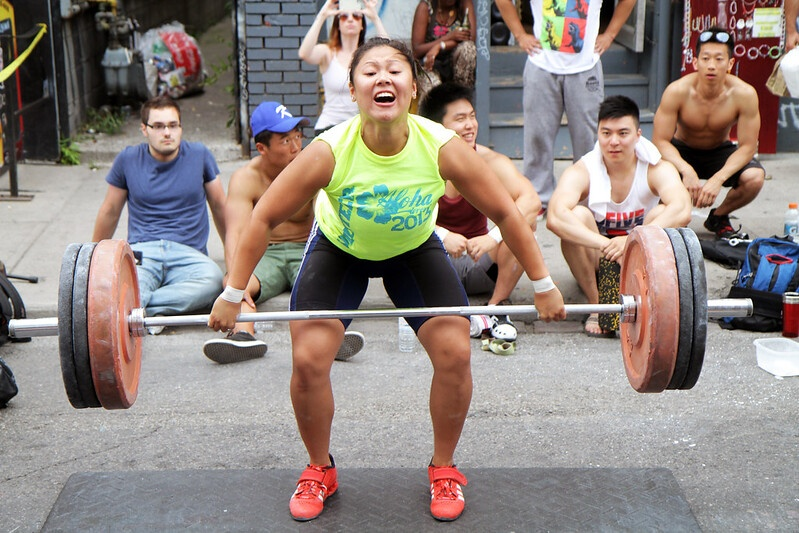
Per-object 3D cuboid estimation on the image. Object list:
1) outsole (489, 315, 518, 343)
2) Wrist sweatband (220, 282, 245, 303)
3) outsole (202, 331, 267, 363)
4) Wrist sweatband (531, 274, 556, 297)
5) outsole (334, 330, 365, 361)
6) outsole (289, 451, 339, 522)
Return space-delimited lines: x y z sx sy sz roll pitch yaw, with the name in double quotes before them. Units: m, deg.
"outsole" 0.752 0.465 6.100 0.168 0.201 0.222 6 -10 -14
"Wrist sweatband" -0.887 0.140 4.344 0.100 0.073 0.103 22 14 14
"outsole" -1.160 0.551 5.864 0.456 0.203 0.217 0 33 -18
"Wrist sweatband" 0.759 0.104 4.409 0.098 0.080 0.101 -13 6 16
"outsole" -0.348 0.555 5.806 0.149 0.128 0.362 7 -14 -24
"outsole" -0.455 1.196 4.461 0.145 0.182 0.392 5 15 13
